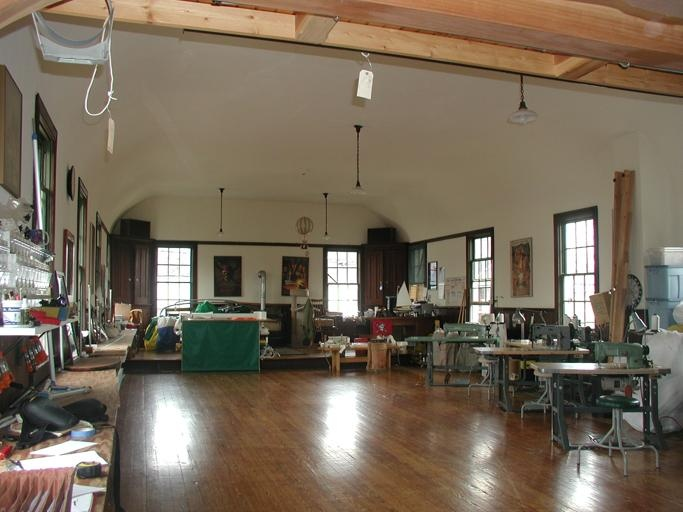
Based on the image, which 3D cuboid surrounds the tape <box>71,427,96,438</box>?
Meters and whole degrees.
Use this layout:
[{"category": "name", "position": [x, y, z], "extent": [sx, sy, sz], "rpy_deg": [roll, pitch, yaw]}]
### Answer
[{"category": "tape", "position": [-1.499, 1.027, 3.078], "extent": [0.072, 0.019, 0.077], "rpy_deg": [2, 2, 2]}]

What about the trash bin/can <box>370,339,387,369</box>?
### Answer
[{"category": "trash bin/can", "position": [0.749, 2.061, 11.065], "extent": [0.444, 0.575, 0.477], "rpy_deg": [0, -4, -3]}]

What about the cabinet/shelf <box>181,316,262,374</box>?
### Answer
[{"category": "cabinet/shelf", "position": [-2.362, 1.774, 10.576], "extent": [1.124, 0.835, 1.190], "rpy_deg": [1, -5, -11]}]

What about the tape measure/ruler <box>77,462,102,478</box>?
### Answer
[{"category": "tape measure/ruler", "position": [-1.239, 1.048, 2.616], "extent": [0.122, 0.067, 0.080], "rpy_deg": [1, -3, -4]}]
